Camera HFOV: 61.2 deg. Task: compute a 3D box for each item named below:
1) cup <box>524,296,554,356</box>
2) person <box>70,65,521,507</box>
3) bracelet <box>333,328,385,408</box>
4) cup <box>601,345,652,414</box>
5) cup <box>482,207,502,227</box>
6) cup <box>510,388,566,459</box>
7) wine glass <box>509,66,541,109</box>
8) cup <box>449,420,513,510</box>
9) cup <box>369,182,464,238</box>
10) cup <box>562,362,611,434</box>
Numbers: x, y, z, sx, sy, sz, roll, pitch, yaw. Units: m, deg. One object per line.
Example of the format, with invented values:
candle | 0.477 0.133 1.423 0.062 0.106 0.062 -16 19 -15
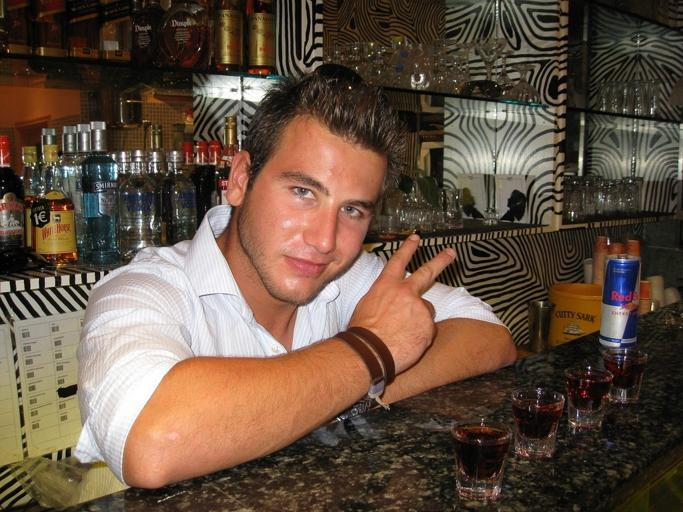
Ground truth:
cup | 1.125 0.396 3.318 0.119 0.295 0.191 0 12 -6
person | -0.120 -0.028 1.518 1.091 0.966 0.611 -9 15 -41
bracelet | 0.064 0.250 1.373 0.041 0.132 0.146 -32 27 -22
cup | 0.743 0.315 1.522 0.105 0.112 0.102 9 -25 4
cup | 0.847 -0.216 3.278 0.106 0.100 0.097 0 6 0
cup | 0.415 0.341 1.242 0.129 0.133 0.131 -1 0 0
wine glass | 1.002 -0.916 3.171 0.216 0.267 0.207 2 14 15
cup | 0.256 0.379 1.087 0.122 0.119 0.115 -1 8 0
cup | 0.375 -0.243 2.897 0.430 0.175 0.301 -4 1 2
cup | 0.601 0.333 1.385 0.130 0.134 0.126 -8 -7 -1
